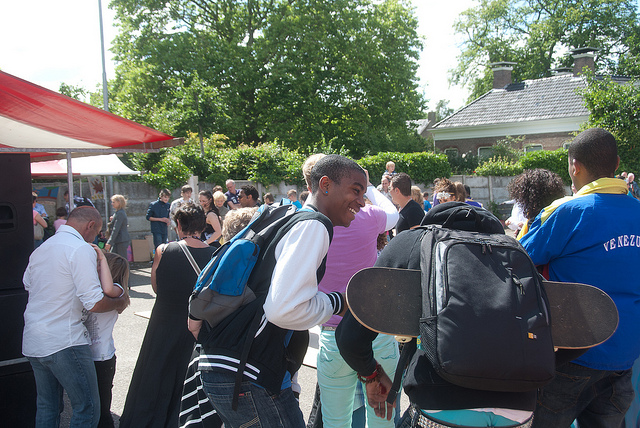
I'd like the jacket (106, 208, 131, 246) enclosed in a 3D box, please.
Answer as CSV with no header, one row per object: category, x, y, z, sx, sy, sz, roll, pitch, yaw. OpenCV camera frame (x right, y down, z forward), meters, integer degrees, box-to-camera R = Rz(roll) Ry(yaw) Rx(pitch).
jacket,-4.434,0.248,12.194,0.467,0.782,0.280,-2,3,-22

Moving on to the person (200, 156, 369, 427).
person,-0.257,0.528,3.962,1.188,1.924,0.468,-2,3,-14

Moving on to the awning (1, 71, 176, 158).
awning,-3.188,-1.173,7.145,1.847,0.593,2.148,-2,1,-23

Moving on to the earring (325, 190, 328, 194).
earring,0.043,-0.173,4.132,0.023,0.023,0.005,10,-3,-2

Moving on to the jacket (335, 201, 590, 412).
jacket,1.003,0.666,3.873,1.388,1.434,0.432,4,-18,-1

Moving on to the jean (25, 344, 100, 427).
jean,-2.331,1.571,5.096,0.567,0.776,0.264,0,3,17

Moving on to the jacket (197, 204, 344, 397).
jacket,-0.411,0.571,4.253,0.934,1.338,1.151,15,-1,-25
